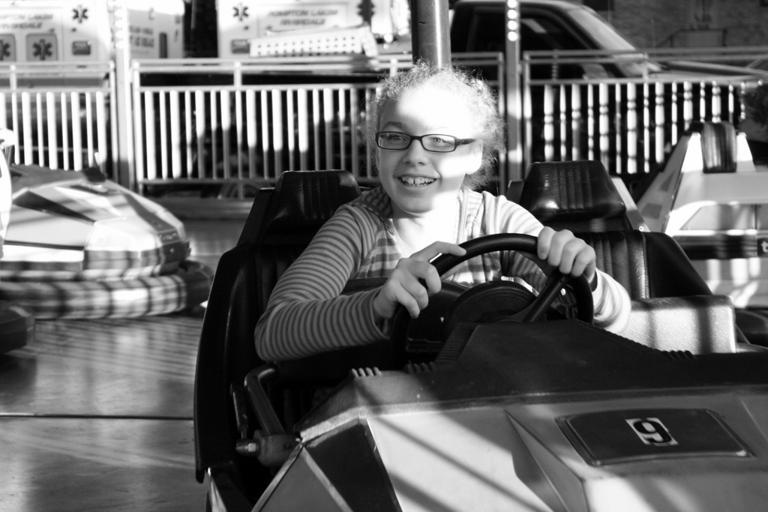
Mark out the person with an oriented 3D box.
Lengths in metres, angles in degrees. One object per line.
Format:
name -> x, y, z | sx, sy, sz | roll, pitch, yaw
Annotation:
person -> 0.122, 0.016, 1.925 | 0.867, 0.902, 0.735 | -5, 12, -20

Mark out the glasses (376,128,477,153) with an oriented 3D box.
glasses -> 0.097, -0.268, 1.862 | 0.226, 0.050, 0.065 | 1, 10, 2
